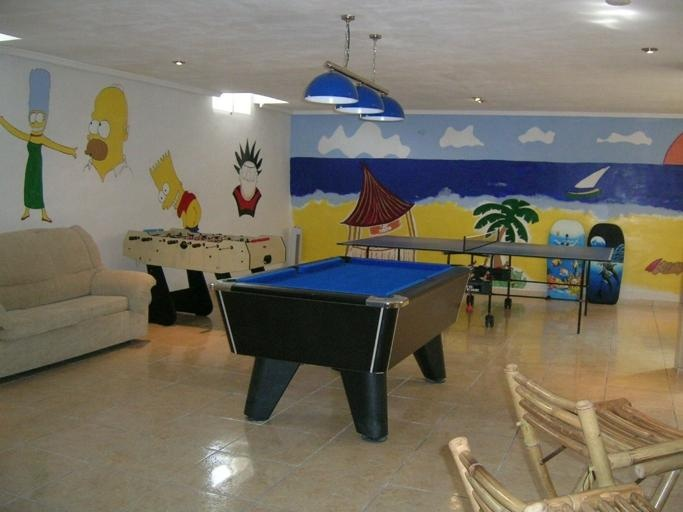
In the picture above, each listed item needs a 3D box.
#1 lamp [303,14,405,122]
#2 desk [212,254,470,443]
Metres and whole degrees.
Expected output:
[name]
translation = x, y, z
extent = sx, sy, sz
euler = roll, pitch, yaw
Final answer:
[lamp]
translation = 0.191, -1.563, 4.518
extent = 0.411, 0.633, 1.186
euler = 29, 18, 26
[desk]
translation = 0.164, 0.679, 4.603
extent = 1.521, 1.076, 2.081
euler = 5, 8, 30
